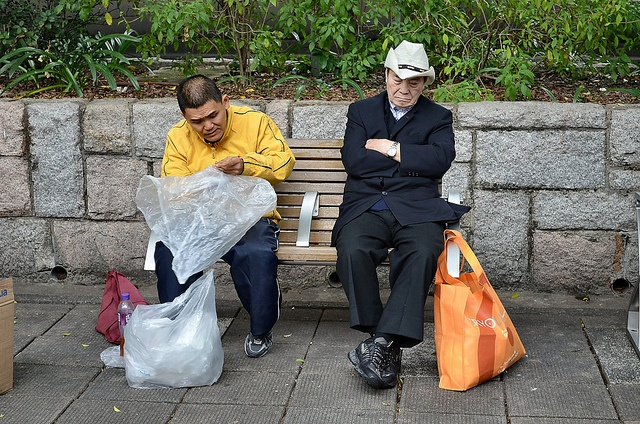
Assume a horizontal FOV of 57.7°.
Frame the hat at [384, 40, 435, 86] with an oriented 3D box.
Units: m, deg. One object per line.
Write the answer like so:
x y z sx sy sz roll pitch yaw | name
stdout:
0.688 -1.158 4.471 0.413 0.221 0.511 12 12 6 | hat

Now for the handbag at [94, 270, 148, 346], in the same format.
-1.597 0.745 4.756 0.416 0.565 0.492 1 7 -26 | handbag

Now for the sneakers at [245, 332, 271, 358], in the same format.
-0.464 0.975 4.304 0.213 0.161 0.153 -5 14 -9 | sneakers

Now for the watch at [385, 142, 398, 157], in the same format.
0.545 -0.472 4.397 0.071 0.104 0.099 21 9 8 | watch

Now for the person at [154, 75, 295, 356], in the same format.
-0.723 0.000 4.389 1.096 2.048 0.838 -4 15 -3 | person

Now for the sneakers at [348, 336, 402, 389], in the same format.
0.390 1.023 3.917 0.308 0.318 0.282 -2 14 3 | sneakers

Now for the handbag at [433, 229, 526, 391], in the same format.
1.130 0.707 4.141 0.571 1.020 0.942 -6 5 41 | handbag
